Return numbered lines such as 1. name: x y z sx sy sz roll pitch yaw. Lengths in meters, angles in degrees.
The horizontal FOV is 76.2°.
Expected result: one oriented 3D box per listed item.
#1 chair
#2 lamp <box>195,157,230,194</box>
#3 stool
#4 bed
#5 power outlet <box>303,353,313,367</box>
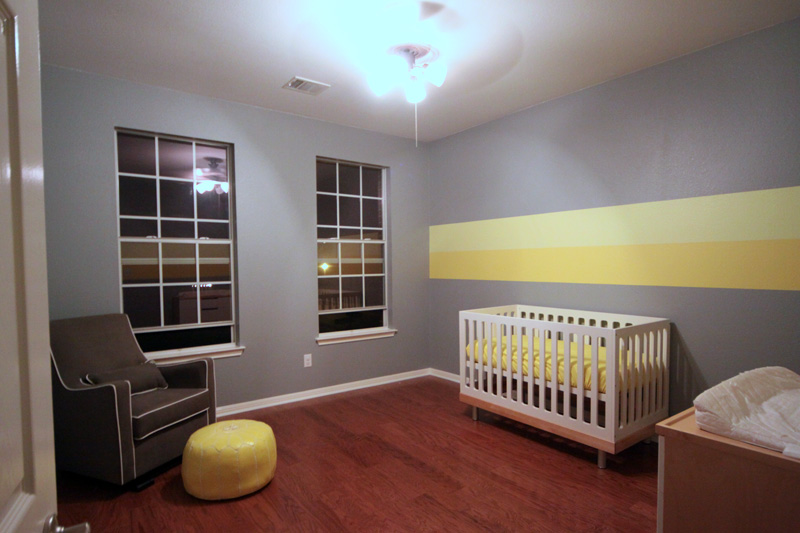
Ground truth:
1. chair: -2.125 0.951 3.993 1.086 1.158 0.863 -3 3 29
2. lamp: -1.806 -0.870 4.875 0.296 0.349 0.085 -4 10 -20
3. stool: -1.269 1.384 3.758 0.633 0.406 0.703 11 9 43
4. bed: 1.377 0.887 4.570 1.034 0.945 1.708 -4 4 -41
5. power outlet: -0.961 0.965 5.263 0.147 0.190 0.025 1 -1 -44
